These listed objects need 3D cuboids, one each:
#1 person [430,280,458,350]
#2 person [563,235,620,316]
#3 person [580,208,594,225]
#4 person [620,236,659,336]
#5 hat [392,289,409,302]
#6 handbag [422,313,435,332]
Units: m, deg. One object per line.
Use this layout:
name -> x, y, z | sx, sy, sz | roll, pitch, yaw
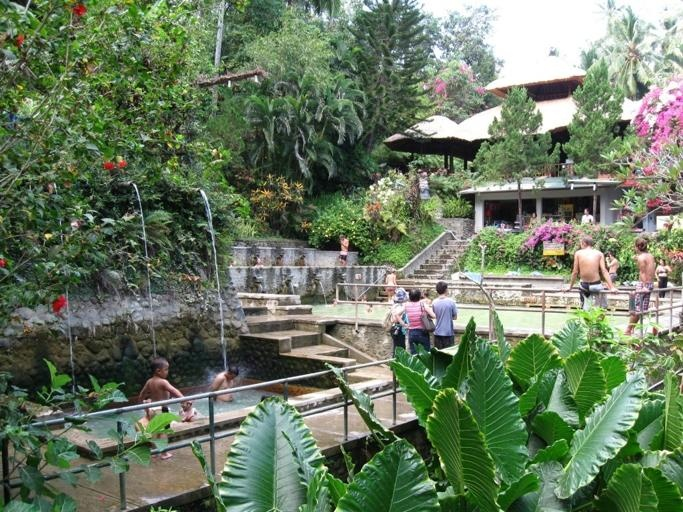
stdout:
person -> 1.602, 0.915, 8.666 | 0.342, 1.034, 1.137 | 0, 1, 10
person -> 4.046, 0.445, 9.081 | 0.799, 1.631, 0.411 | 0, 25, 28
person -> 9.653, -1.502, 21.895 | 0.427, 0.694, 2.085 | 0, 0, 24
person -> 4.969, 0.484, 9.265 | 0.417, 1.577, 3.205 | 0, 1, 29
hat -> 1.039, 0.696, 9.797 | 0.247, 0.157, 0.359 | -11, 19, 11
handbag -> 1.345, 1.030, 8.651 | 0.103, 0.337, 0.251 | -23, -8, 22
